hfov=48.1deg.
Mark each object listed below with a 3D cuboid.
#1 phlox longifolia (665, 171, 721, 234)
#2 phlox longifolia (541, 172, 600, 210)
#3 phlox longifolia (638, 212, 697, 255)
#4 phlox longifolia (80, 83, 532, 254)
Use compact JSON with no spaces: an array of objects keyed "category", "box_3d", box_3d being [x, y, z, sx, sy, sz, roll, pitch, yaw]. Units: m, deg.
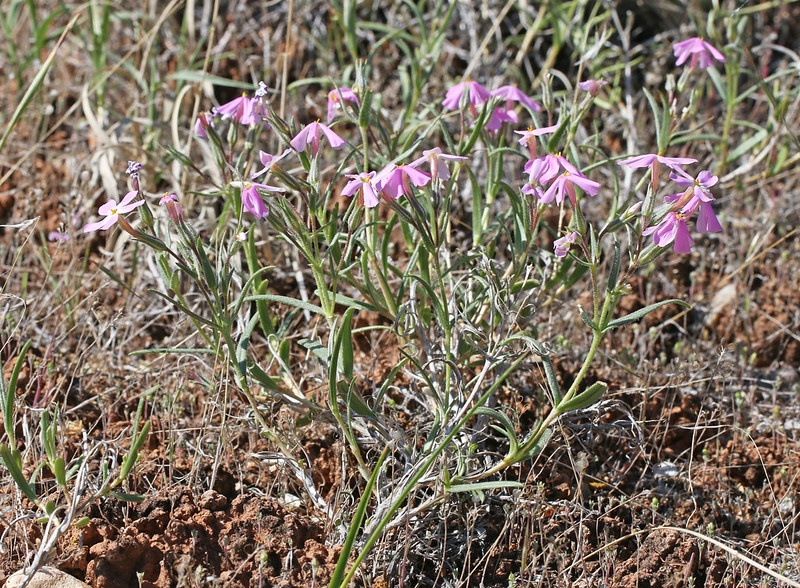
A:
[{"category":"phlox longifolia","box_3d":[1.070,-0.376,3.310,0.131,0.120,0.157,4,93,-9]},{"category":"phlox longifolia","box_3d":[0.634,-0.404,3.373,0.138,0.150,0.091,-15,90,-18]},{"category":"phlox longifolia","box_3d":[1.040,-0.246,3.340,0.134,0.170,0.109,-15,102,5]},{"category":"phlox longifolia","box_3d":[-0.341,-0.622,3.653,1.665,0.400,0.916,-6,56,1]}]
